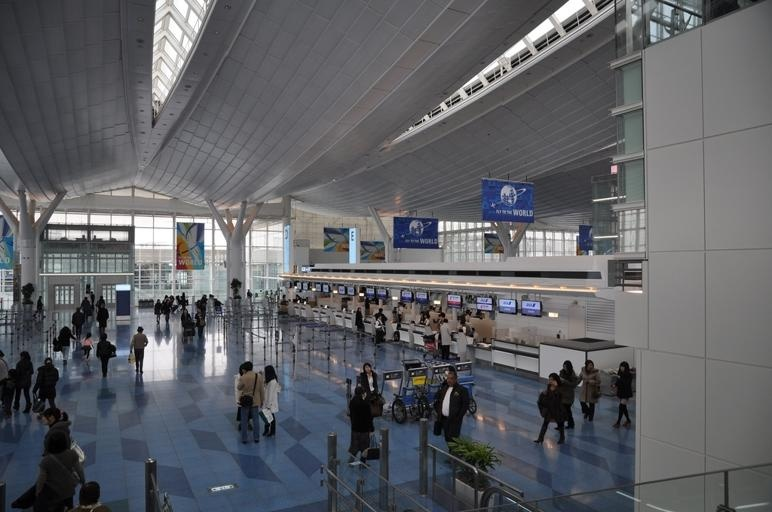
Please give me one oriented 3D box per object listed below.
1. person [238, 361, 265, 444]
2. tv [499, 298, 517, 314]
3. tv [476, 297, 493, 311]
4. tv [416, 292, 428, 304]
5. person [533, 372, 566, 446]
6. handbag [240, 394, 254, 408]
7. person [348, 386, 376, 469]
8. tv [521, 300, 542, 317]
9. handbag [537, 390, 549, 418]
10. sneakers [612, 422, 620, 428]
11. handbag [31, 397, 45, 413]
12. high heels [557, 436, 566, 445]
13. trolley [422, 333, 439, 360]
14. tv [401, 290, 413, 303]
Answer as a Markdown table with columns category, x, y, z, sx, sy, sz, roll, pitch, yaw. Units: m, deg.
| category | x | y | z | sx | sy | sz | roll | pitch | yaw |
| --- | --- | --- | --- | --- | --- | --- | --- | --- | --- |
| person | -3.347 | 3.555 | 12.016 | 0.625 | 1.930 | 0.694 | 0 | -1 | -17 |
| tv | 5.960 | 2.495 | 23.847 | 0.403 | 0.727 | 1.335 | 0 | -1 | -23 |
| tv | 5.233 | 2.551 | 25.791 | 0.545 | 0.768 | 1.212 | 0 | -1 | -15 |
| tv | 2.387 | 2.834 | 32.756 | 0.790 | 0.733 | 0.402 | 1 | 2 | 21 |
| person | 4.038 | 3.733 | 12.059 | 0.700 | 1.704 | 0.729 | -1 | -1 | 18 |
| handbag | -3.327 | 3.464 | 11.784 | 0.415 | 0.391 | 0.230 | 1 | 8 | -2 |
| person | -0.550 | 3.577 | 10.361 | 0.503 | 1.672 | 0.631 | -1 | -1 | -3 |
| tv | 6.773 | 2.419 | 22.523 | 0.633 | 0.819 | 1.150 | -3 | 2 | -35 |
| handbag | 3.845 | 3.619 | 11.891 | 0.206 | 0.579 | 0.408 | 2 | -10 | 9 |
| sneakers | 6.171 | 4.534 | 13.100 | 0.176 | 0.173 | 0.090 | 13 | -16 | -27 |
| handbag | -8.609 | 3.716 | 12.056 | 0.282 | 0.262 | 0.585 | 2 | -4 | -27 |
| high heels | 4.275 | 4.529 | 11.917 | 0.205 | 0.201 | 0.098 | 3 | -7 | -9 |
| trolley | 1.944 | 3.953 | 21.439 | 0.956 | 1.245 | 0.989 | -1 | -6 | 10 |
| tv | 1.386 | 2.675 | 32.522 | 0.479 | 0.801 | 0.894 | -5 | 3 | -26 |
